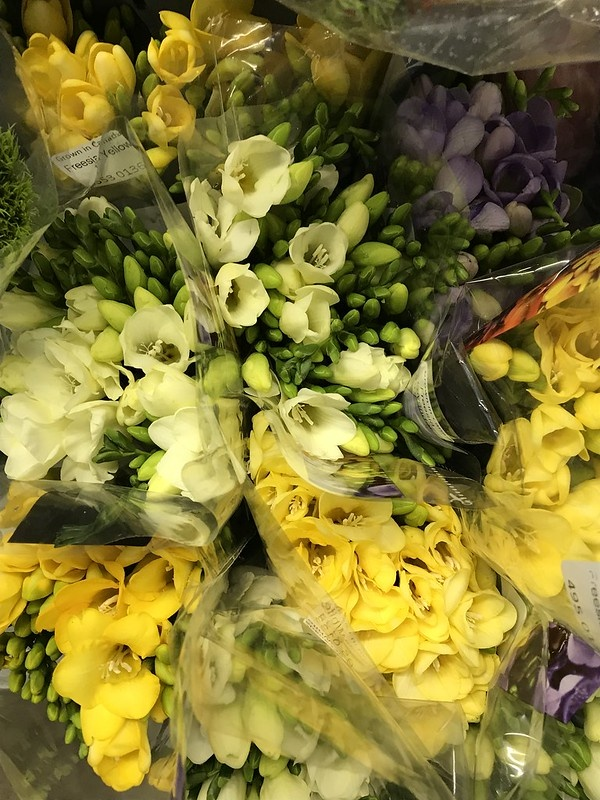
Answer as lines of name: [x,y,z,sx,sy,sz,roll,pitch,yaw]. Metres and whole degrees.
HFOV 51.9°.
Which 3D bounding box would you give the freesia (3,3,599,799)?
freesia: [-0.015,-0.004,0.809,0.648,0.143,0.640,1,91,-3]
